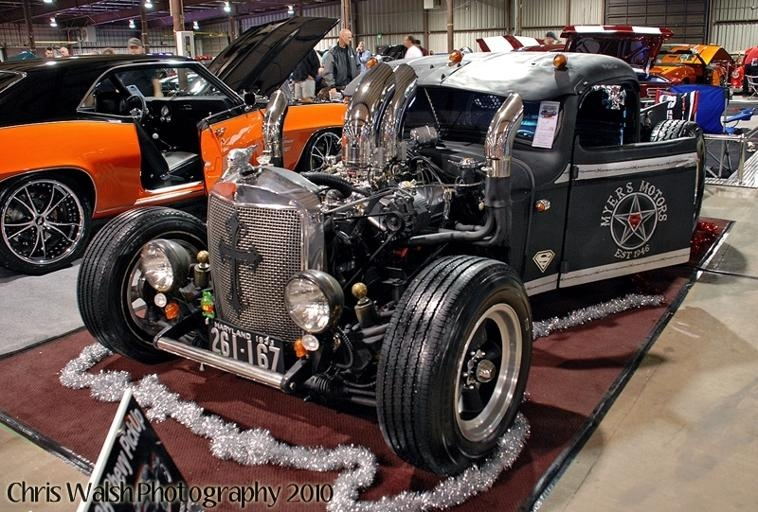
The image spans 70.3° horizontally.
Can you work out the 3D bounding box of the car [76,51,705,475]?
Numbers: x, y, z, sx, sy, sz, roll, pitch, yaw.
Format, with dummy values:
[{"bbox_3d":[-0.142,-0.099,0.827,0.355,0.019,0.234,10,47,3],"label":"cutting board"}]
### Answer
[{"bbox_3d":[0.793,-0.207,4.238,2.457,1.693,4.222,11,17,38],"label":"car"}]
